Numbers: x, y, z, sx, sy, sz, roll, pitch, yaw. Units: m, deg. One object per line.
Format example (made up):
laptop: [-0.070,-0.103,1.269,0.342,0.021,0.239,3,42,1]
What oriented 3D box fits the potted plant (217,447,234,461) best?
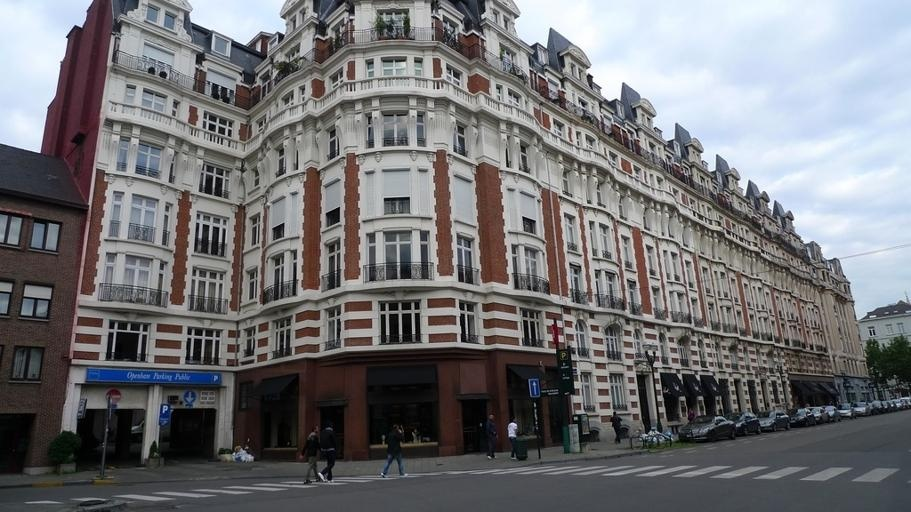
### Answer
potted plant: [-17.740,15.588,47.508,0.996,0.850,0.984,-7,-18,24]

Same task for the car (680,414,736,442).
car: [19.951,13.807,48.407,4.493,1.960,1.493,7,-24,-27]

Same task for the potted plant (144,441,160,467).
potted plant: [-22.333,14.753,45.175,1.307,1.997,0.761,-18,-26,31]

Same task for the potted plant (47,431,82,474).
potted plant: [-27.655,13.975,43.097,2.132,2.795,1.404,0,-22,-10]

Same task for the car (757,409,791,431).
car: [28.470,14.977,54.932,3.896,1.928,0.822,9,-25,-31]

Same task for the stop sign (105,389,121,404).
stop sign: [-22.376,9.317,40.013,0.625,0.833,0.897,3,-23,-19]
